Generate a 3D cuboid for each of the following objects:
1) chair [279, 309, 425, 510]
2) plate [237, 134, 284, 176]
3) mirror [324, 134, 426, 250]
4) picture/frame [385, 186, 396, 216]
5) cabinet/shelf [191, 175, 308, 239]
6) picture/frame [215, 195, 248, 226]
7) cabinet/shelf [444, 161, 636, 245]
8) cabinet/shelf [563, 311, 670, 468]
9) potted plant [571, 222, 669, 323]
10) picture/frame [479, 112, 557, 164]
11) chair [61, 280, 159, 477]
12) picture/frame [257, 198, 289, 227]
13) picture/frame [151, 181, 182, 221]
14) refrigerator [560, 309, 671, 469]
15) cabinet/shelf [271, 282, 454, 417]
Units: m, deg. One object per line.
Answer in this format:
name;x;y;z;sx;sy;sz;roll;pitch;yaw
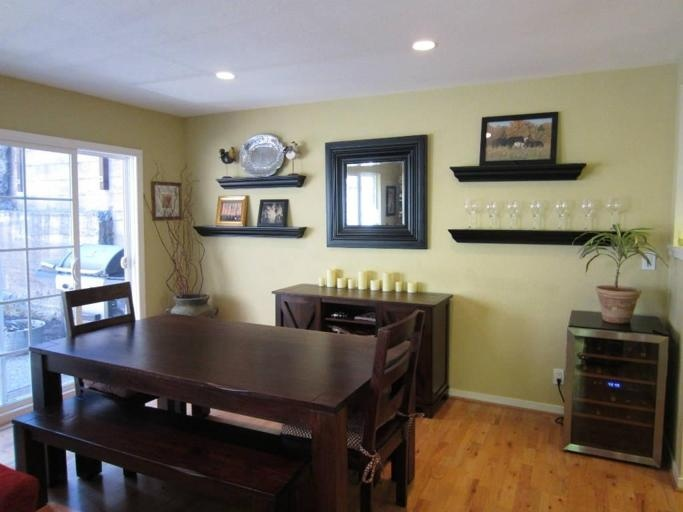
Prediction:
chair;0.242;0.986;3.263;0.342;1.352;0.744;7;15;24
plate;-0.835;-1.076;5.658;0.599;0.442;0.137;8;16;30
mirror;0.367;-0.642;5.137;1.081;1.139;0.115;1;5;22
picture/frame;0.478;-0.531;5.111;0.127;0.297;0.064;4;14;16
cabinet/shelf;-1.010;-0.378;5.628;0.291;0.413;1.480;2;4;33
picture/frame;-1.204;-0.504;5.875;0.329;0.302;0.029;2;1;22
cabinet/shelf;1.660;-0.426;4.547;1.435;0.757;0.235;6;15;21
cabinet/shelf;2.090;1.009;4.126;0.658;0.964;0.596;3;-1;23
potted plant;2.142;0.156;4.144;0.669;0.743;0.608;6;-3;-21
picture/frame;1.557;-1.016;4.584;0.476;0.354;0.040;2;5;21
chair;-1.549;0.924;4.042;0.793;1.334;0.801;4;5;25
picture/frame;-0.719;-0.465;5.659;0.294;0.265;0.022;2;-2;29
picture/frame;-1.948;-0.609;5.914;0.301;0.314;0.015;-1;5;-27
refrigerator;2.084;1.011;4.136;0.658;0.983;0.568;3;2;20
cabinet/shelf;0.158;0.844;5.075;1.531;1.007;0.560;3;8;23
